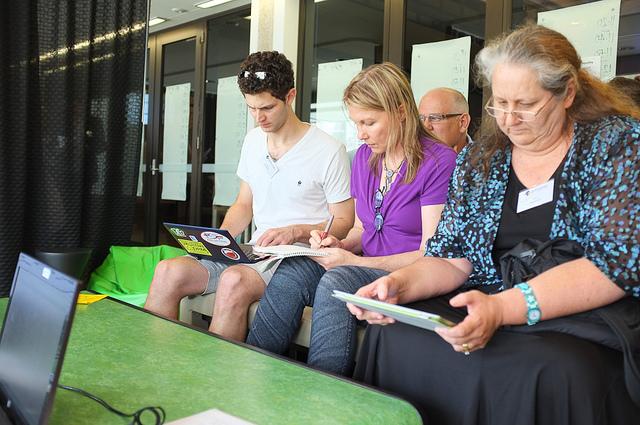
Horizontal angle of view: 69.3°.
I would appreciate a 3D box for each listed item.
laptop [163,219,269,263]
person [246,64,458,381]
[{"bbox_3d":[-0.501,0.090,2.392,0.319,0.198,0.302,5,21,34],"label":"laptop"},{"bbox_3d":[0.137,0.182,2.231,0.988,1.672,0.738,1,5,-30],"label":"person"}]
